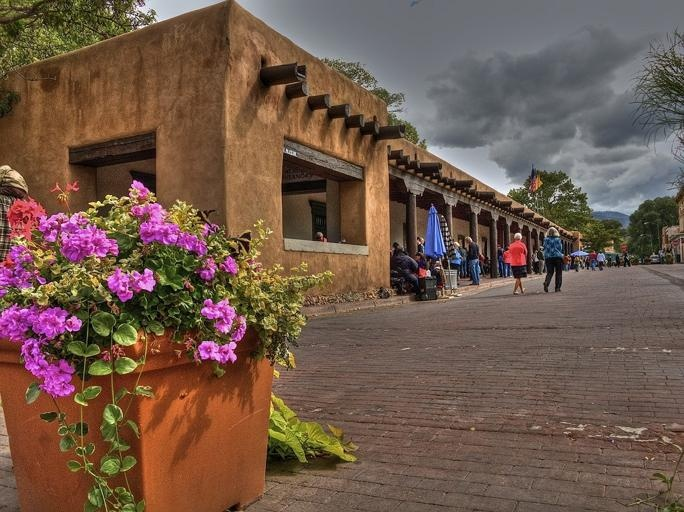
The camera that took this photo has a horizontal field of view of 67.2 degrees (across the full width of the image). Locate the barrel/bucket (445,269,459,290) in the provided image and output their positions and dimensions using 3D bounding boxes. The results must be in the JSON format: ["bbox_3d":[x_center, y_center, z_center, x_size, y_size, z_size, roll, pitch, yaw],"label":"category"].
[{"bbox_3d":[4.026,0.863,18.608,0.603,0.688,0.620,-2,-1,0],"label":"barrel/bucket"}]

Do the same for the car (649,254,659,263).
[{"bbox_3d":[55.257,0.433,91.394,1.352,1.166,2.255,0,8,19],"label":"car"}]

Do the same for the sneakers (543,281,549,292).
[{"bbox_3d":[6.308,0.948,15.985,0.142,0.333,0.134,0,22,39],"label":"sneakers"}]

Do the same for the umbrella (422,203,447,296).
[{"bbox_3d":[3.344,-0.309,18.509,0.699,3.160,1.705,-2,0,12],"label":"umbrella"}]
